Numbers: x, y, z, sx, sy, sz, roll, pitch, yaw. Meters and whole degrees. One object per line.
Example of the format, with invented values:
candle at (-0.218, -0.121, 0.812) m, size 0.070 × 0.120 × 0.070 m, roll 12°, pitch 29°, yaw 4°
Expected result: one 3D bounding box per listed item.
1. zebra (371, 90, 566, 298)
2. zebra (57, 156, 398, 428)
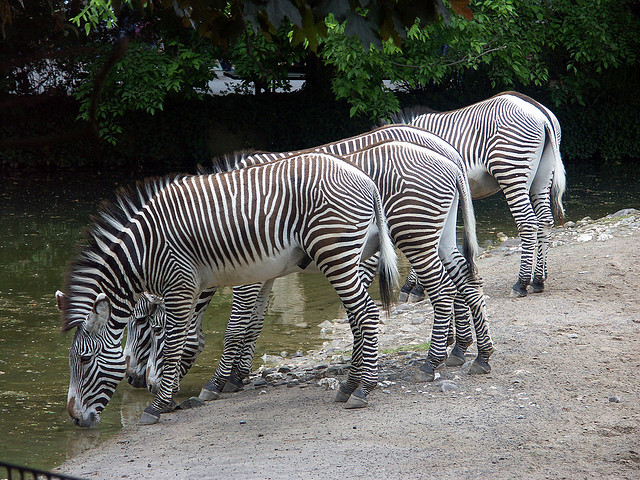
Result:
zebra at (1.700, -0.690, 11.789) m, size 1.164 × 2.663 × 3.913 m, roll 1°, pitch 1°, yaw -43°
zebra at (-0.876, 0.586, 8.753) m, size 3.588 × 2.495 × 1.017 m, roll -6°, pitch -5°, yaw 2°
